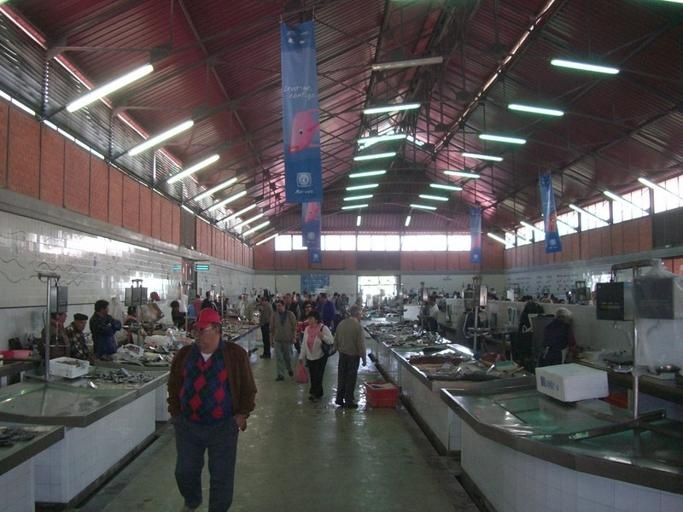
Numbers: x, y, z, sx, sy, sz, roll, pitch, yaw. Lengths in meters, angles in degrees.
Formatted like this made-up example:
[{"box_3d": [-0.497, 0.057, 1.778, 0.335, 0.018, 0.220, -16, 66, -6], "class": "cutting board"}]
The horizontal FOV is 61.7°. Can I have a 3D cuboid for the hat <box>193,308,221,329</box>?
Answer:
[{"box_3d": [-1.238, 0.573, 5.254, 0.144, 0.132, 0.220, -6, -7, 41], "class": "hat"}]

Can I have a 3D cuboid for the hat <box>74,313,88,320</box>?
[{"box_3d": [-3.879, 0.894, 8.468, 0.168, 0.079, 0.158, 10, 8, 17], "class": "hat"}]
